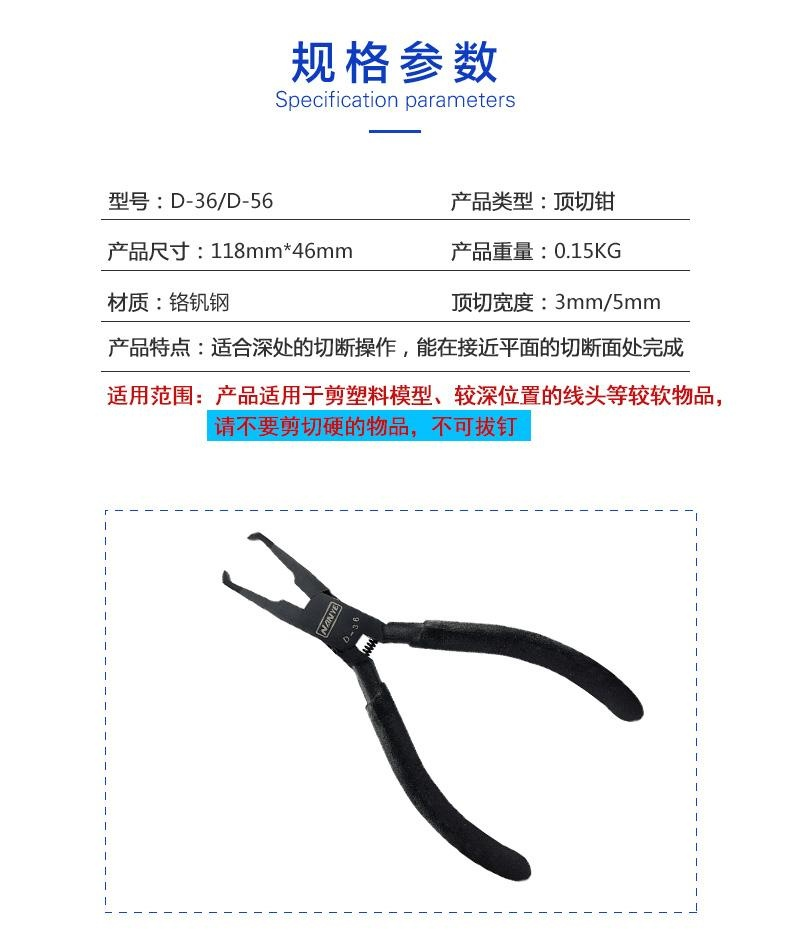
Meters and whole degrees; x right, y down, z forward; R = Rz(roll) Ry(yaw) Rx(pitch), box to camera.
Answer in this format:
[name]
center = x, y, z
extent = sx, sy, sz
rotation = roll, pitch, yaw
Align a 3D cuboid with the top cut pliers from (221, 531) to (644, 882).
[top cut pliers]
center = 0.074, 0.509, 2.857
extent = 1.017, 0.153, 0.579
rotation = 35, 66, 17
